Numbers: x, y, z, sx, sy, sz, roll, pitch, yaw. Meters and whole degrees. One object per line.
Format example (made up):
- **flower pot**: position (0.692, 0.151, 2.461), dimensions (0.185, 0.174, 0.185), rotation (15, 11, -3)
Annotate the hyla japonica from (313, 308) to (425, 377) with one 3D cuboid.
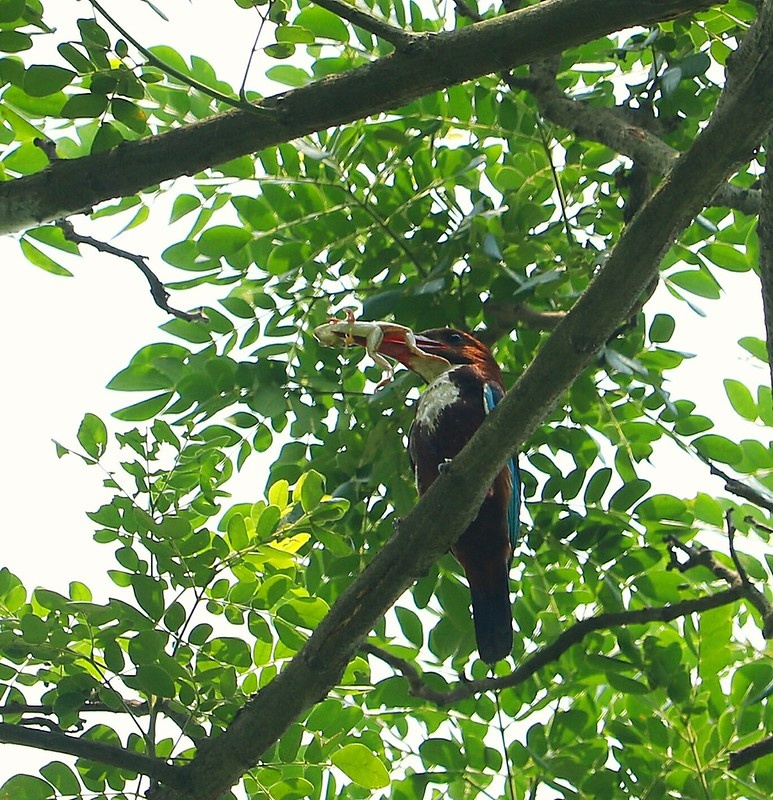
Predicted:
- **hyla japonica**: position (-0.063, -0.198, 5.662), dimensions (0.427, 0.429, 0.220), rotation (1, -91, 29)
